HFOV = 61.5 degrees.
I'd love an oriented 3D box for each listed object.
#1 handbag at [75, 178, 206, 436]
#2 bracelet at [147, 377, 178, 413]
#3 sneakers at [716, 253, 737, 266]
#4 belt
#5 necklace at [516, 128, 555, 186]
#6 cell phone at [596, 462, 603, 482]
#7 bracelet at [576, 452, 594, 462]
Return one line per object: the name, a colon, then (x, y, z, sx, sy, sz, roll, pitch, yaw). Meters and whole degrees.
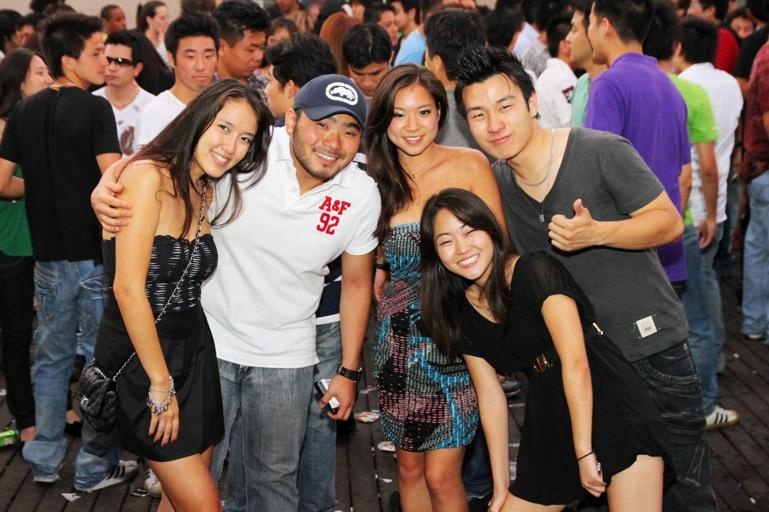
handbag: (-1.307, 0.392, 3.444, 0.676, 0.744, 0.191, -4, 4, -2)
bracelet: (-1.177, 0.734, 3.396, 0.136, 0.179, 0.053, 0, -11, 7)
sneakers: (3.888, 0.052, 7.376, 0.158, 0.145, 0.085, -12, 13, -43)
belt: (0.979, 0.499, 3.530, 0.349, 0.110, 0.254, -31, -13, 15)
necklace: (0.841, -0.542, 3.606, 0.044, 0.280, 0.198, 2, 2, -9)
cell phone: (1.120, 1.136, 3.387, 0.025, 0.095, 0.031, -7, -2, -38)
bracelet: (1.045, 1.049, 3.371, 0.080, 0.057, 0.028, -3, 4, 14)
